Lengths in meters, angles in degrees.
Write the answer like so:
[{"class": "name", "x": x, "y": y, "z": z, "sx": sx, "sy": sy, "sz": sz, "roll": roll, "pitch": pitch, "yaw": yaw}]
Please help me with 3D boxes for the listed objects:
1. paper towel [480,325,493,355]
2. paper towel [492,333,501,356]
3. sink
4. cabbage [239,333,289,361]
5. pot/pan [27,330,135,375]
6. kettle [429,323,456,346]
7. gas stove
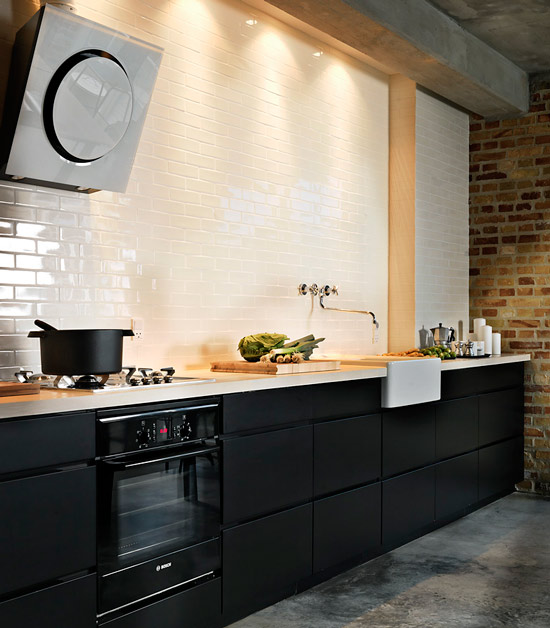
[{"class": "paper towel", "x": 1.782, "y": 0.224, "z": 4.321, "sx": 0.052, "sy": 0.242, "sz": 0.197, "roll": -6, "pitch": -10, "yaw": 43}, {"class": "paper towel", "x": 1.908, "y": 0.254, "z": 4.430, "sx": 0.077, "sy": 0.220, "sz": 0.380, "roll": -2, "pitch": -8, "yaw": 23}, {"class": "sink", "x": 0.608, "y": 0.332, "z": 3.064, "sx": 0.646, "sy": 0.300, "sz": 0.747, "roll": 14, "pitch": 0, "yaw": 29}, {"class": "cabbage", "x": -0.063, "y": 0.151, "z": 2.614, "sx": 0.168, "sy": 0.089, "sz": 0.171, "roll": -14, "pitch": 10, "yaw": -39}, {"class": "pot/pan", "x": -0.592, "y": 0.104, "z": 1.689, "sx": 0.301, "sy": 0.140, "sz": 0.238, "roll": 9, "pitch": 4, "yaw": 39}, {"class": "kettle", "x": 1.311, "y": 0.154, "z": 3.958, "sx": 0.199, "sy": 0.194, "sz": 0.172, "roll": -5, "pitch": -7, "yaw": 37}, {"class": "gas stove", "x": -0.555, "y": 0.215, "z": 1.759, "sx": 0.467, "sy": 0.076, "sz": 0.690, "roll": -5, "pitch": -9, "yaw": 37}]
